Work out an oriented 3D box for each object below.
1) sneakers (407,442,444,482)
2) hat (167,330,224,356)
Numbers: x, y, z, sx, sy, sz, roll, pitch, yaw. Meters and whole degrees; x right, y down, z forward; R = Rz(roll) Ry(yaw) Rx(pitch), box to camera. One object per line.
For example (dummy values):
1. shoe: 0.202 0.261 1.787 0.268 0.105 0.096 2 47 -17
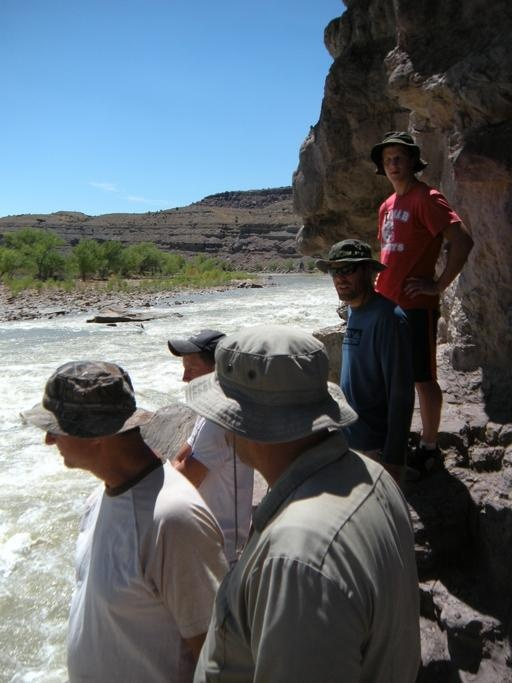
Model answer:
1. sneakers: 0.905 0.674 3.001 0.308 0.123 0.107 -8 -8 -46
2. hat: -0.290 0.015 2.709 0.235 0.085 0.142 -2 -1 -20
